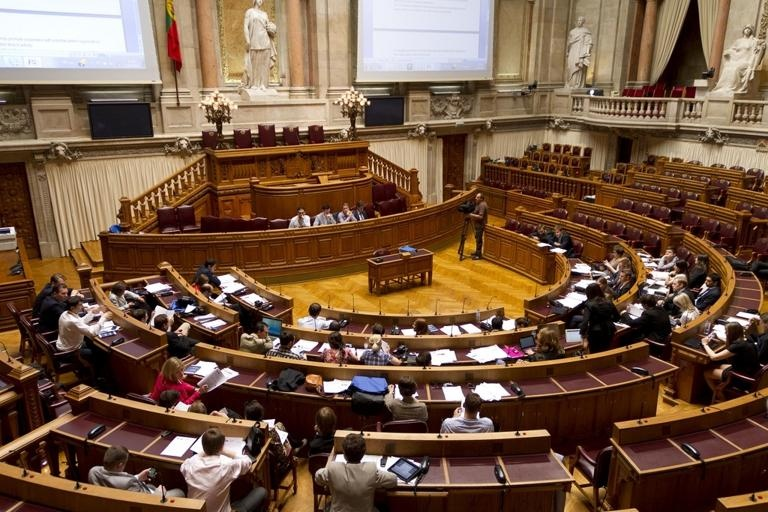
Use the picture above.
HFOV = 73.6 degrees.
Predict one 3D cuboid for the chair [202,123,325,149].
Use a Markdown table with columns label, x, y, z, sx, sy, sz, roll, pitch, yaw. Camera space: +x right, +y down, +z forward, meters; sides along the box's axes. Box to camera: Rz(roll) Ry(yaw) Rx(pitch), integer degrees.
| label | x | y | z | sx | sy | sz | roll | pitch | yaw |
| --- | --- | --- | --- | --- | --- | --- | --- | --- | --- |
| chair | -4.081 | -4.169 | 17.681 | 4.003 | 0.725 | 1.445 | -10 | 19 | -25 |

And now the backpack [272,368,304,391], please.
| label | x | y | z | sx | sy | sz | roll | pitch | yaw |
| --- | --- | --- | --- | --- | --- | --- | --- | --- | --- |
| backpack | -1.454 | 1.868 | 7.833 | 0.486 | 0.220 | 0.340 | -2 | 17 | -3 |

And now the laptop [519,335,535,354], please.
| label | x | y | z | sx | sy | sz | roll | pitch | yaw |
| --- | --- | --- | --- | --- | --- | --- | --- | --- | --- |
| laptop | 2.485 | 1.550 | 8.885 | 0.267 | 0.172 | 0.252 | -8 | 44 | -4 |

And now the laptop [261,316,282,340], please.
| label | x | y | z | sx | sy | sz | roll | pitch | yaw |
| --- | --- | --- | --- | --- | --- | --- | --- | --- | --- |
| laptop | -1.995 | 1.254 | 9.299 | 0.368 | 0.377 | 0.311 | 3 | 6 | 4 |

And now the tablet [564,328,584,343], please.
| label | x | y | z | sx | sy | sz | roll | pitch | yaw |
| --- | --- | --- | --- | --- | --- | --- | --- | --- | --- |
| tablet | 3.346 | 1.310 | 9.029 | 0.321 | 0.255 | 0.180 | 1 | 16 | 4 |

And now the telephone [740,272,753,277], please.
| label | x | y | z | sx | sy | sz | roll | pitch | yaw |
| --- | --- | --- | --- | --- | --- | --- | --- | --- | --- |
| telephone | 7.962 | 0.384 | 11.264 | 0.124 | 0.041 | 0.129 | 1 | 20 | 5 |

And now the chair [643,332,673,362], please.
| label | x | y | z | sx | sy | sz | roll | pitch | yaw |
| --- | --- | --- | --- | --- | --- | --- | --- | --- | --- |
| chair | 4.831 | 1.573 | 9.103 | 0.399 | 0.554 | 0.419 | -7 | 19 | -19 |

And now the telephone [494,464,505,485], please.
| label | x | y | z | sx | sy | sz | roll | pitch | yaw |
| --- | --- | --- | --- | --- | --- | --- | --- | --- | --- |
| telephone | 1.430 | 2.674 | 6.347 | 0.110 | 0.087 | 0.276 | -3 | 17 | -6 |

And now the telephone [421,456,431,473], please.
| label | x | y | z | sx | sy | sz | roll | pitch | yaw |
| --- | --- | --- | --- | --- | --- | --- | --- | --- | --- |
| telephone | 0.533 | 2.602 | 6.451 | 0.062 | 0.079 | 0.205 | 3 | 31 | 10 |

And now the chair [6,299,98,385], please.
| label | x | y | z | sx | sy | sz | roll | pitch | yaw |
| --- | --- | --- | --- | --- | --- | --- | --- | --- | --- |
| chair | -5.917 | 1.553 | 9.302 | 0.941 | 1.351 | 0.827 | -16 | 41 | -33 |

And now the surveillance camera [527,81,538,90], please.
| label | x | y | z | sx | sy | sz | roll | pitch | yaw |
| --- | --- | --- | --- | --- | --- | --- | --- | --- | --- |
| surveillance camera | 7.049 | -8.042 | 24.298 | 0.563 | 0.403 | 0.348 | 0 | 13 | 7 |

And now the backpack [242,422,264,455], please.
| label | x | y | z | sx | sy | sz | roll | pitch | yaw |
| --- | --- | --- | --- | --- | --- | --- | --- | --- | --- |
| backpack | -1.725 | 2.418 | 6.766 | 0.232 | 0.442 | 0.397 | 8 | -8 | -34 |

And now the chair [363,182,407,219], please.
| label | x | y | z | sx | sy | sz | roll | pitch | yaw |
| --- | --- | --- | --- | --- | --- | --- | --- | --- | --- |
| chair | 0.121 | -1.862 | 16.953 | 1.185 | 0.851 | 2.451 | 0 | 17 | 6 |

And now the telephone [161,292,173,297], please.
| label | x | y | z | sx | sy | sz | roll | pitch | yaw |
| --- | --- | --- | --- | --- | --- | --- | --- | --- | --- |
| telephone | -4.512 | 0.767 | 10.774 | 0.188 | 0.050 | 0.232 | 10 | 21 | 34 |

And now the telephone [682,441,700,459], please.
| label | x | y | z | sx | sy | sz | roll | pitch | yaw |
| --- | --- | --- | --- | --- | --- | --- | --- | --- | --- |
| telephone | 3.922 | 2.467 | 6.588 | 0.080 | 0.110 | 0.293 | -11 | 14 | -15 |

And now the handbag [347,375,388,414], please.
| label | x | y | z | sx | sy | sz | roll | pitch | yaw |
| --- | --- | --- | --- | --- | --- | --- | --- | --- | --- |
| handbag | -0.211 | 2.001 | 7.558 | 0.417 | 0.230 | 0.513 | 1 | 25 | -1 |

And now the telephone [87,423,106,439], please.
| label | x | y | z | sx | sy | sz | roll | pitch | yaw |
| --- | --- | --- | --- | --- | --- | --- | --- | --- | --- |
| telephone | -3.825 | 2.332 | 6.864 | 0.111 | 0.063 | 0.197 | 3 | 22 | 16 |

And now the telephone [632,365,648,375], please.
| label | x | y | z | sx | sy | sz | roll | pitch | yaw |
| --- | --- | --- | --- | --- | --- | --- | --- | --- | --- |
| telephone | 4.016 | 1.781 | 8.058 | 0.113 | 0.064 | 0.186 | -12 | 10 | -39 |

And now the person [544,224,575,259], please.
| label | x | y | z | sx | sy | sz | roll | pitch | yaw |
| --- | --- | --- | --- | --- | --- | --- | --- | --- | --- |
| person | 4.797 | -0.174 | 14.175 | 0.757 | 1.357 | 0.779 | 1 | -6 | 32 |

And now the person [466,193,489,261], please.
| label | x | y | z | sx | sy | sz | roll | pitch | yaw |
| --- | --- | --- | --- | --- | --- | --- | --- | --- | --- |
| person | 2.922 | -1.004 | 15.856 | 0.501 | 1.948 | 0.792 | 2 | 18 | 10 |

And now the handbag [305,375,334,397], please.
| label | x | y | z | sx | sy | sz | roll | pitch | yaw |
| --- | --- | --- | --- | --- | --- | --- | --- | --- | --- |
| handbag | -1.021 | 1.923 | 7.733 | 0.248 | 0.129 | 0.346 | 11 | 33 | -10 |
